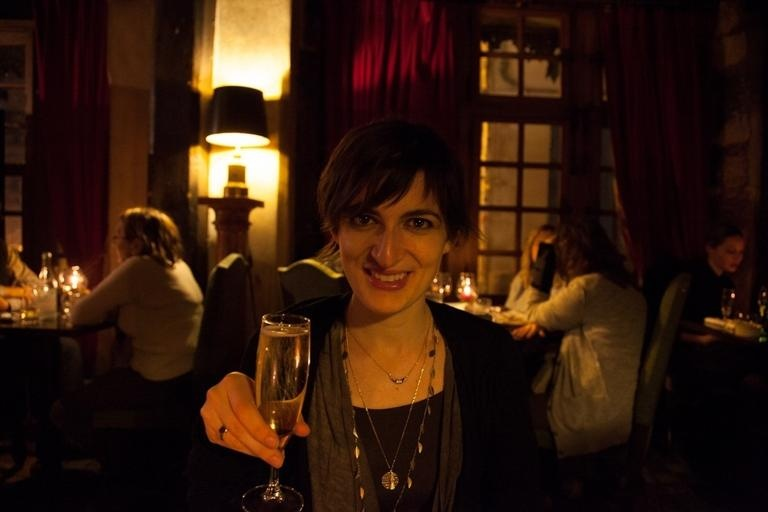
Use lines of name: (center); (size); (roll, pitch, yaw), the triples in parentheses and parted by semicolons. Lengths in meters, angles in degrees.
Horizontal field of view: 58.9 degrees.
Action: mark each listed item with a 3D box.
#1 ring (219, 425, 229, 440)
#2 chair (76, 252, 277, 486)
ring: (-0.854, 0.940, 3.621); (0.047, 0.076, 0.018); (3, 5, 31)
chair: (-1.864, 0.763, 5.227); (1.075, 2.216, 0.845); (7, 0, 32)
